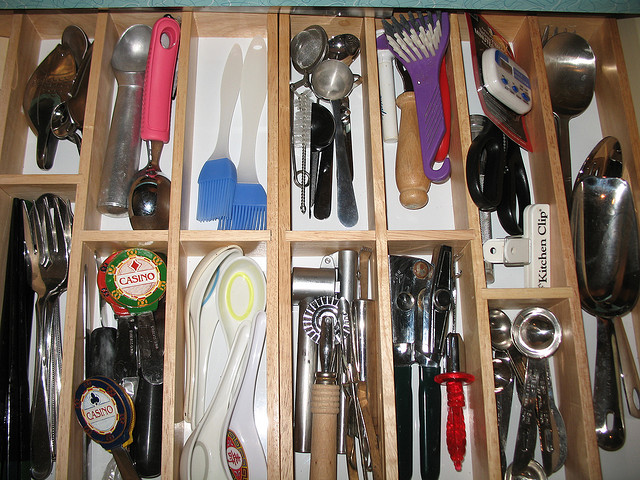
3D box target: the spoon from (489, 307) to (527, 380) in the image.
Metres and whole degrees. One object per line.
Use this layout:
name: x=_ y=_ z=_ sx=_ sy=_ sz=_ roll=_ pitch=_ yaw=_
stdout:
spoon: x=0.475 y=0.244 z=1.437 sx=0.056 sy=0.265 sz=0.032 roll=-13 pitch=-18 yaw=20

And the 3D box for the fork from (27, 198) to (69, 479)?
fork: x=-0.676 y=0.251 z=1.393 sx=0.080 sy=0.706 sz=0.074 roll=-1 pitch=-9 yaw=-31

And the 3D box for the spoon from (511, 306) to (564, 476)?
spoon: x=0.529 y=0.366 z=1.387 sx=0.147 sy=0.394 sz=0.069 roll=2 pitch=-4 yaw=-20

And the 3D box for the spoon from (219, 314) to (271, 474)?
spoon: x=-0.176 y=0.375 z=1.363 sx=0.099 sy=0.384 sz=0.052 roll=9 pitch=-8 yaw=-9

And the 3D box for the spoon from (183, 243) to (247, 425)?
spoon: x=-0.252 y=0.223 z=1.345 sx=0.113 sy=0.481 sz=0.116 roll=-4 pitch=-11 yaw=43

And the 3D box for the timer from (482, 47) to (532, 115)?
timer: x=0.512 y=-0.425 z=1.516 sx=0.156 sy=0.164 sz=0.050 roll=2 pitch=-4 yaw=-26

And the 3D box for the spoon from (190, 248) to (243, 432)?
spoon: x=-0.270 y=0.208 z=1.391 sx=0.060 sy=0.487 sz=0.096 roll=5 pitch=-14 yaw=10

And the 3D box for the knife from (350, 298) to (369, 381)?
knife: x=0.098 y=0.241 z=1.385 sx=0.044 sy=0.187 sz=0.067 roll=0 pitch=-4 yaw=5

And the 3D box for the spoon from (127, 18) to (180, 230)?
spoon: x=-0.432 y=-0.308 z=1.456 sx=0.120 sy=0.568 sz=0.135 roll=2 pitch=-4 yaw=-16

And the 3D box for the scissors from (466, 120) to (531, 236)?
scissors: x=0.462 y=-0.176 z=1.491 sx=0.112 sy=0.323 sz=0.225 roll=-3 pitch=-5 yaw=43

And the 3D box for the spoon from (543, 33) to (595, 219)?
spoon: x=0.718 y=-0.374 z=1.613 sx=0.116 sy=0.647 sz=0.070 roll=1 pitch=-4 yaw=-2

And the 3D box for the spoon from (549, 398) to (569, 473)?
spoon: x=0.580 y=0.466 z=1.366 sx=0.039 sy=0.189 sz=0.024 roll=-8 pitch=-6 yaw=34

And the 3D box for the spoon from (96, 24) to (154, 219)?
spoon: x=-0.510 y=-0.320 z=1.518 sx=0.121 sy=0.530 sz=0.147 roll=2 pitch=-3 yaw=-11

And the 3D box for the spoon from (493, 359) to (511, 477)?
spoon: x=0.455 y=0.431 z=1.395 sx=0.041 sy=0.261 sz=0.069 roll=-1 pitch=-4 yaw=19

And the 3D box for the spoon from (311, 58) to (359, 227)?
spoon: x=0.054 y=-0.260 z=1.504 sx=0.106 sy=0.490 sz=0.062 roll=-2 pitch=-3 yaw=-3
